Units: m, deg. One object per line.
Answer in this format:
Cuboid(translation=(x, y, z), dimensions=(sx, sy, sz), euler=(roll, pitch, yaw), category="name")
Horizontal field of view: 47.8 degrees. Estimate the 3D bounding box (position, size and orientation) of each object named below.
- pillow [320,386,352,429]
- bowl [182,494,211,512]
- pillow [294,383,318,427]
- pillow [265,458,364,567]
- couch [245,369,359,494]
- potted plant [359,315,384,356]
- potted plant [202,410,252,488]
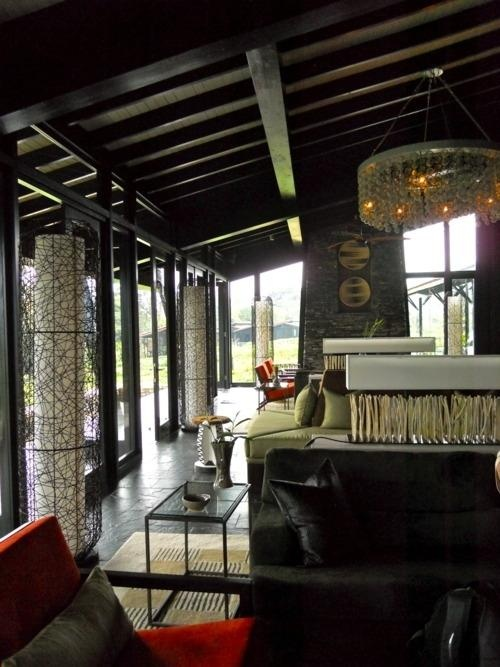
Cuboid(translation=(0.681, 0.590, 4.364), dimensions=(0.374, 0.351, 0.136), euler=(4, -4, -18), category="pillow")
Cuboid(translation=(-0.262, 0.813, 2.715), dimensions=(0.133, 0.075, 0.127), euler=(-3, 1, 0), category="bowl")
Cuboid(translation=(0.448, 0.642, 4.656), dimensions=(0.183, 0.329, 0.499), euler=(-1, -14, 4), category="pillow")
Cuboid(translation=(0.256, 0.734, 2.226), dimensions=(0.089, 0.283, 0.309), euler=(-35, -15, 36), category="pillow")
Cuboid(translation=(0.406, 0.793, 4.662), dimensions=(0.907, 0.885, 0.966), euler=(-1, -8, 13), category="couch")
Cuboid(translation=(1.385, -0.014, 6.395), dimensions=(0.230, 0.505, 0.197), euler=(13, -37, 18), category="potted plant")
Cuboid(translation=(-0.173, 0.683, 3.155), dimensions=(0.277, 0.363, 0.249), euler=(-3, -9, 8), category="potted plant")
